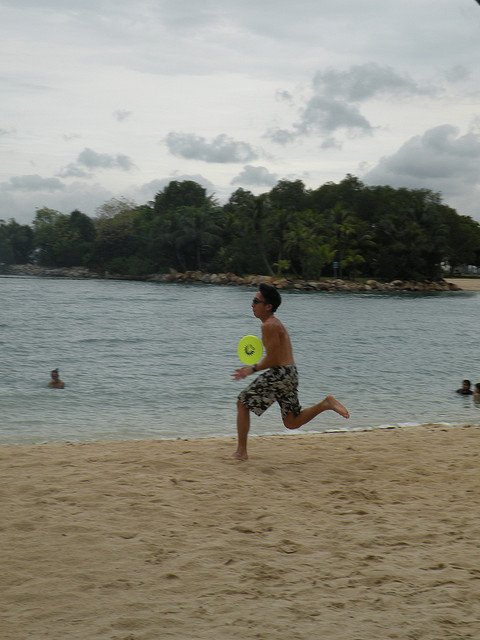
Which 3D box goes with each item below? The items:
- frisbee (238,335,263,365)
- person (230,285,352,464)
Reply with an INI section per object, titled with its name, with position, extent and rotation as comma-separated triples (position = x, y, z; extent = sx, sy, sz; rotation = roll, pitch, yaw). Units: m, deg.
[frisbee]
position = 0.116, 0.293, 7.606
extent = 0.195, 0.277, 0.405
rotation = 1, 8, -17
[person]
position = 0.462, 0.572, 7.552
extent = 1.002, 1.807, 0.821
rotation = 3, 9, 0
